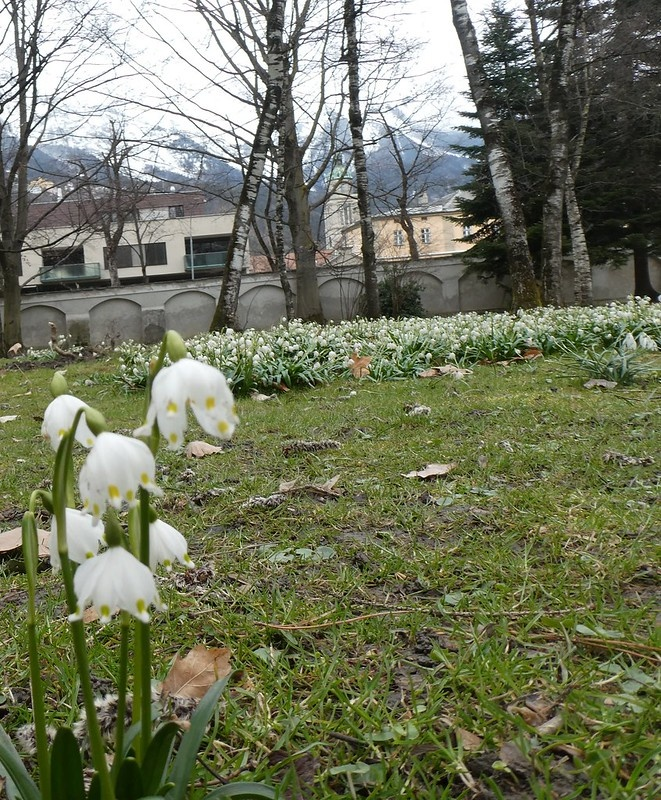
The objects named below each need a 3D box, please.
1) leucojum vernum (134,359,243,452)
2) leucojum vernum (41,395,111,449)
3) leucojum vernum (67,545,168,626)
[{"bbox_3d":[-0.216,0.009,0.912,0.185,0.091,0.145,-8,1,-37],"label":"leucojum vernum"},{"bbox_3d":[-0.392,0.037,1.079,0.076,0.079,0.094,2,-19,7],"label":"leucojum vernum"},{"bbox_3d":[-0.265,0.238,0.924,0.111,0.097,0.104,-19,-25,28],"label":"leucojum vernum"}]
